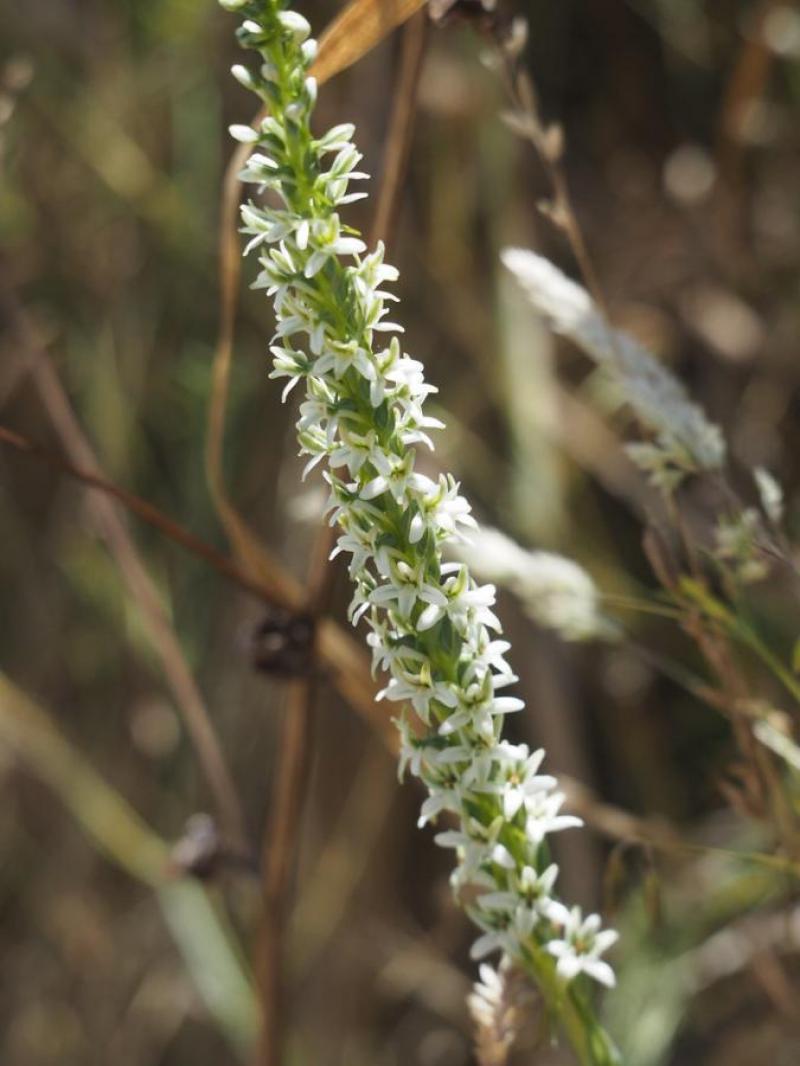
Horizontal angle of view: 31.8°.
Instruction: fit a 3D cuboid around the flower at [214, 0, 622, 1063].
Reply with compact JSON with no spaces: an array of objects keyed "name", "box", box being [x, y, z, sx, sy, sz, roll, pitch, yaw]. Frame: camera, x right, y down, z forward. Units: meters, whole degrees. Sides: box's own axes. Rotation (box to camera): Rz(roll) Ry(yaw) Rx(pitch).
[{"name":"flower","box":[0.018,0.009,0.668,0.123,0.521,0.342,-10,28,-3]}]
